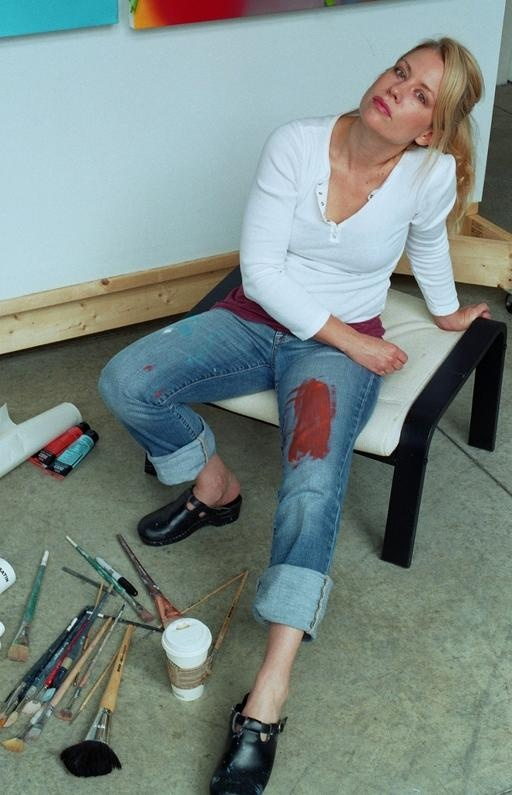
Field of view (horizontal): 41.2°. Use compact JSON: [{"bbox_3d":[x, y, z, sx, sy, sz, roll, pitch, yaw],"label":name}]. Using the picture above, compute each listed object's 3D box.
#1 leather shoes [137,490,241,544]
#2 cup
[{"bbox_3d":[-0.157,0.268,1.624,0.274,0.120,0.091,-15,51,-15],"label":"leather shoes"},{"bbox_3d":[-0.121,0.462,1.189,0.095,0.119,0.088,1,19,0],"label":"cup"}]
